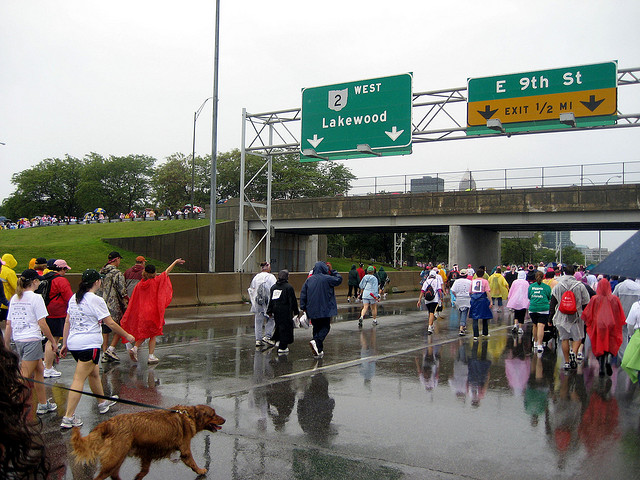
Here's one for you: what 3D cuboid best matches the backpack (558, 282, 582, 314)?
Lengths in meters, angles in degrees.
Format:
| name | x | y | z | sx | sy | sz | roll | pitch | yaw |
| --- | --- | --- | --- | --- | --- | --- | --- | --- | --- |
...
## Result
| name | x | y | z | sx | sy | sz | roll | pitch | yaw |
| --- | --- | --- | --- | --- | --- | --- | --- | --- | --- |
| backpack | 5.168 | 1.234 | 12.089 | 0.421 | 0.677 | 0.443 | 7 | -5 | 4 |

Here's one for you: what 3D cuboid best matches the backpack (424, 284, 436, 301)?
| name | x | y | z | sx | sy | sz | roll | pitch | yaw |
| --- | --- | --- | --- | --- | --- | --- | --- | --- | --- |
| backpack | 3.075 | 1.554 | 16.317 | 0.260 | 0.399 | 0.383 | -2 | -1 | 15 |

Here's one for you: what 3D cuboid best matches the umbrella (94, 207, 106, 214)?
| name | x | y | z | sx | sy | sz | roll | pitch | yaw |
| --- | --- | --- | --- | --- | --- | --- | --- | --- | --- |
| umbrella | -25.719 | -3.409 | 67.777 | 1.582 | 0.653 | 1.623 | 1 | -3 | -3 |

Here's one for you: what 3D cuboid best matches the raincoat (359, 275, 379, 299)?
| name | x | y | z | sx | sy | sz | roll | pitch | yaw |
| --- | --- | --- | --- | --- | --- | --- | --- | --- | --- |
| raincoat | 1.510 | 1.495 | 17.871 | 0.572 | 0.668 | 0.463 | 1 | 0 | 45 |

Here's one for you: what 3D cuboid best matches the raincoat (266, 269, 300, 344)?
| name | x | y | z | sx | sy | sz | roll | pitch | yaw |
| --- | --- | --- | --- | --- | --- | --- | --- | --- | --- |
| raincoat | -0.831 | 1.512 | 12.850 | 0.641 | 1.571 | 0.420 | 1 | 0 | 32 |

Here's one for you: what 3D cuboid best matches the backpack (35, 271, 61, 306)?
| name | x | y | z | sx | sy | sz | roll | pitch | yaw |
| --- | --- | --- | --- | --- | --- | --- | --- | --- | --- |
| backpack | -4.701 | 0.875 | 10.253 | 0.370 | 0.562 | 0.374 | -6 | 5 | -5 |

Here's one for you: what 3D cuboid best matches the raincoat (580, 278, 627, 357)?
| name | x | y | z | sx | sy | sz | roll | pitch | yaw |
| --- | --- | --- | --- | --- | --- | --- | --- | --- | --- |
| raincoat | 5.408 | 1.532 | 11.057 | 0.728 | 1.203 | 0.510 | 1 | 0 | 14 |

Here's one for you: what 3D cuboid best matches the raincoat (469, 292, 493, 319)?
| name | x | y | z | sx | sy | sz | roll | pitch | yaw |
| --- | --- | --- | --- | --- | --- | --- | --- | --- | --- |
| raincoat | 4.250 | 1.788 | 15.376 | 0.553 | 0.613 | 0.403 | 1 | 0 | 15 |

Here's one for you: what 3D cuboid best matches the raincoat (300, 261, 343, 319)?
| name | x | y | z | sx | sy | sz | roll | pitch | yaw |
| --- | --- | --- | --- | --- | --- | --- | --- | --- | --- |
| raincoat | 0.025 | 1.141 | 12.772 | 0.820 | 1.186 | 0.711 | 1 | 0 | 3 |

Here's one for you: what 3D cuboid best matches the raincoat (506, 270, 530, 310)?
| name | x | y | z | sx | sy | sz | roll | pitch | yaw |
| --- | --- | --- | --- | --- | --- | --- | --- | --- | --- |
| raincoat | 5.498 | 1.469 | 16.142 | 0.544 | 0.921 | 0.977 | 1 | 0 | 18 |

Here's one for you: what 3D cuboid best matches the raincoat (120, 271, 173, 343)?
| name | x | y | z | sx | sy | sz | roll | pitch | yaw |
| --- | --- | --- | --- | --- | --- | --- | --- | --- | --- |
| raincoat | -3.486 | 1.307 | 11.693 | 1.081 | 1.925 | 1.018 | 0 | 7 | -26 |

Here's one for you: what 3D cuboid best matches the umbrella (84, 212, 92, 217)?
| name | x | y | z | sx | sy | sz | roll | pitch | yaw |
| --- | --- | --- | --- | --- | --- | --- | --- | --- | --- |
| umbrella | -23.507 | -2.510 | 58.697 | 0.866 | 0.318 | 0.680 | -3 | 0 | 30 |

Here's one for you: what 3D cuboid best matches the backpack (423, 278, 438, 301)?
| name | x | y | z | sx | sy | sz | roll | pitch | yaw |
| --- | --- | --- | --- | --- | --- | --- | --- | --- | --- |
| backpack | 3.069 | 1.540 | 16.324 | 0.240 | 0.400 | 0.394 | -5 | -1 | 32 |
